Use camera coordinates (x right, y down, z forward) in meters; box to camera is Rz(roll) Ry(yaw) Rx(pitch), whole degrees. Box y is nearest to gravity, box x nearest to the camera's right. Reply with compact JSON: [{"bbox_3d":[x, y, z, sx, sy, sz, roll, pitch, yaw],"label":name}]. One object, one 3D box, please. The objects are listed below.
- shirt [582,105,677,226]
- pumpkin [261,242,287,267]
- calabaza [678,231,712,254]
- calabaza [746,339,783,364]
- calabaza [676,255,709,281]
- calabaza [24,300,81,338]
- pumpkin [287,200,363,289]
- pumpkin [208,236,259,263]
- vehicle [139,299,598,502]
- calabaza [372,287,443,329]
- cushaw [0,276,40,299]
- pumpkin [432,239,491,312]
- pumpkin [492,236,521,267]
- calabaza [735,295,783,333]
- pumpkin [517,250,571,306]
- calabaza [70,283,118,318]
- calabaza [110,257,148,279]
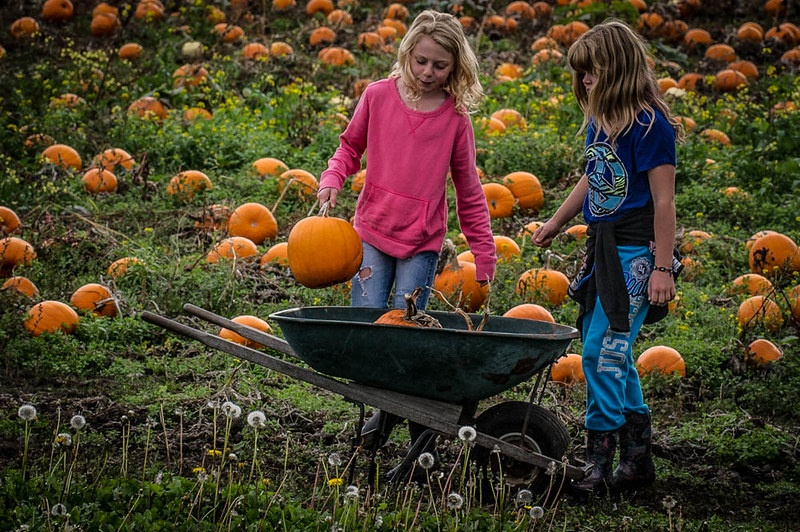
[{"bbox_3d":[2.223,-1.000,12.706,0.738,1.095,1.272,-10,15,-24],"label":"shirt"},{"bbox_3d":[-1.472,-0.153,15.247,0.315,0.372,0.253,9,-18,-6],"label":"pumpkin"},{"bbox_3d":[3.609,-0.328,15.739,0.332,0.288,0.325,-21,21,-36],"label":"calabaza"},{"bbox_3d":[4.022,0.957,14.173,0.345,0.236,0.245,8,-8,12],"label":"calabaza"},{"bbox_3d":[3.486,0.044,15.391,0.464,0.384,0.439,3,10,16],"label":"calabaza"},{"bbox_3d":[-3.878,0.573,14.145,0.497,0.328,0.471,-18,21,-22],"label":"calabaza"},{"bbox_3d":[-0.744,-0.230,12.936,0.783,0.881,0.720,-7,-12,3],"label":"pumpkin"},{"bbox_3d":[-1.962,-0.187,15.187,0.368,0.355,0.367,6,-25,15],"label":"pumpkin"},{"bbox_3d":[-0.366,1.382,12.647,4.559,1.431,1.393,9,-17,10],"label":"vehicle"},{"bbox_3d":[0.109,0.427,12.339,0.847,0.258,0.426,6,-33,14],"label":"calabaza"},{"bbox_3d":[-4.243,0.235,14.438,0.333,0.178,0.249,14,2,-21],"label":"cushaw"},{"bbox_3d":[0.697,0.115,14.825,0.866,1.030,0.776,-4,7,0],"label":"pumpkin"},{"bbox_3d":[1.253,-0.187,15.351,0.352,0.311,0.331,-13,12,-14],"label":"pumpkin"},{"bbox_3d":[4.089,0.526,14.698,0.462,0.379,0.441,-7,4,-21],"label":"calabaza"},{"bbox_3d":[1.633,0.126,14.867,0.681,0.764,0.647,5,1,34],"label":"pumpkin"},{"bbox_3d":[-3.423,0.393,14.466,0.420,0.381,0.408,-37,-12,-33],"label":"calabaza"},{"bbox_3d":[-3.154,0.047,14.793,0.302,0.137,0.310,-6,2,44],"label":"calabaza"}]
